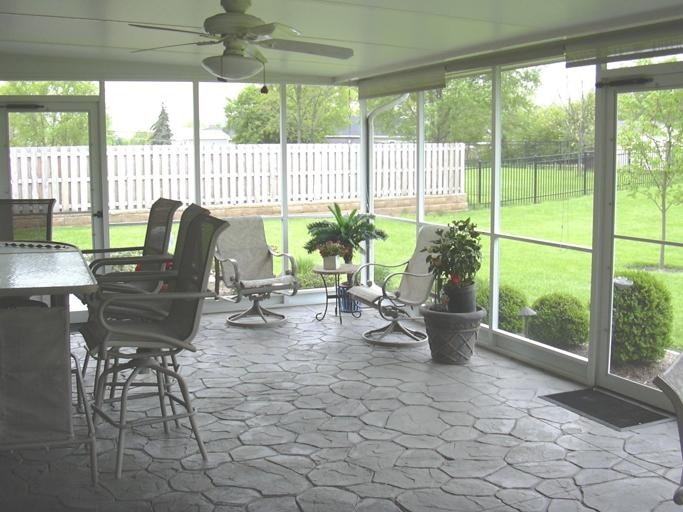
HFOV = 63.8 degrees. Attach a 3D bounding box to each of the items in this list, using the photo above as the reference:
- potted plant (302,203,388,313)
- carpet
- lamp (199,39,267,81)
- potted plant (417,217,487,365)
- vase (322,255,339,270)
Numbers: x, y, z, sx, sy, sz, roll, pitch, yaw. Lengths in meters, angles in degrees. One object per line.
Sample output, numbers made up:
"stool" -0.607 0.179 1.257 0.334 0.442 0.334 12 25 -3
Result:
"potted plant" -0.024 -0.007 7.262 1.479 1.686 1.360 -1 2 -7
"carpet" 2.057 1.191 4.348 0.535 0.028 0.751 -5 11 -28
"lamp" -0.724 -1.358 3.692 0.335 0.168 0.312 1 -5 -5
"potted plant" 1.093 0.321 5.394 0.611 1.421 0.622 2 11 10
"vase" -0.123 0.084 6.624 0.171 0.144 0.162 1 0 -11
